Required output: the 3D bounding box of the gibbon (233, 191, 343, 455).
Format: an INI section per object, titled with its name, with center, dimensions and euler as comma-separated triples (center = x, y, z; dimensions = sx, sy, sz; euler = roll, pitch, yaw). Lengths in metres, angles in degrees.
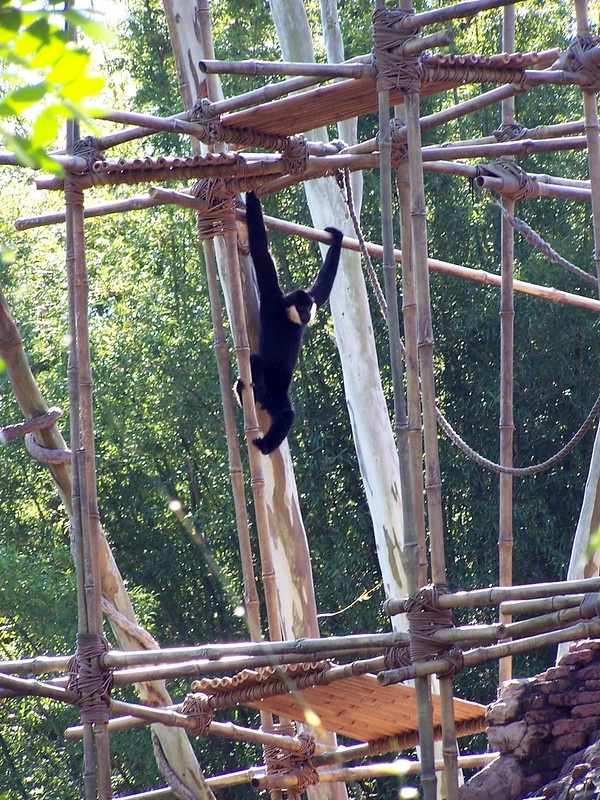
[gibbon]
center = -0.085, -0.496, 15.830
dimensions = 0.513, 1.623, 1.165
euler = -4, 7, 25
